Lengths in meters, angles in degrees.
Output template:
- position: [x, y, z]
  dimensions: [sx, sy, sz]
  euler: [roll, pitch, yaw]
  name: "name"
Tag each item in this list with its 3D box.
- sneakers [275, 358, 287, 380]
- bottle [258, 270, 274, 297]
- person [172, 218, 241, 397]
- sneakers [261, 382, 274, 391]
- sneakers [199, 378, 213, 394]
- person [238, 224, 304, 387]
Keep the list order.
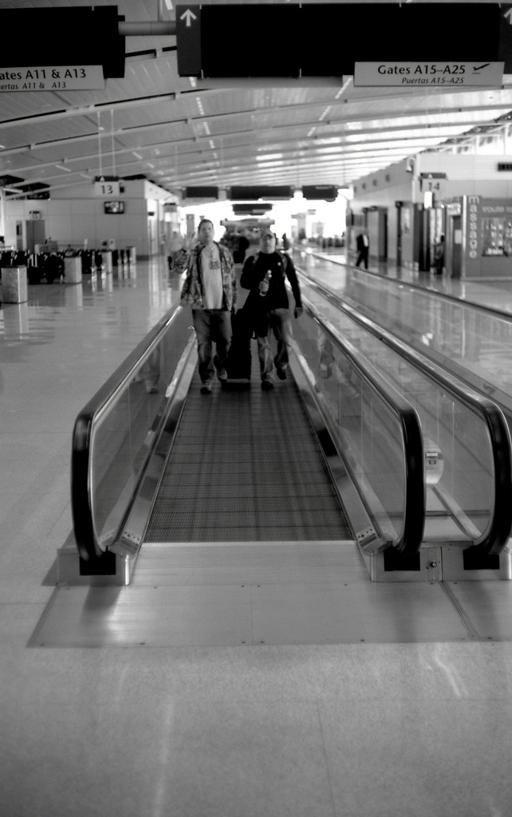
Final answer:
- position: [0.381, -0.545, 7.512]
  dimensions: [0.108, 0.379, 0.180]
  euler: [-4, 55, 9]
  name: "sneakers"
- position: [0.114, -1.519, 6.180]
  dimensions: [0.158, 0.302, 0.228]
  euler: [0, 10, 2]
  name: "bottle"
- position: [-0.602, -1.329, 6.295]
  dimensions: [0.647, 1.858, 0.821]
  euler: [-2, 9, -10]
  name: "person"
- position: [0.163, -0.297, 7.232]
  dimensions: [0.118, 0.106, 0.131]
  euler: [-2, 1, -16]
  name: "sneakers"
- position: [-0.694, -0.288, 7.036]
  dimensions: [0.161, 0.268, 0.552]
  euler: [0, 3, 1]
  name: "sneakers"
- position: [0.204, -1.176, 6.660]
  dimensions: [0.763, 2.035, 1.442]
  euler: [1, 10, 5]
  name: "person"
